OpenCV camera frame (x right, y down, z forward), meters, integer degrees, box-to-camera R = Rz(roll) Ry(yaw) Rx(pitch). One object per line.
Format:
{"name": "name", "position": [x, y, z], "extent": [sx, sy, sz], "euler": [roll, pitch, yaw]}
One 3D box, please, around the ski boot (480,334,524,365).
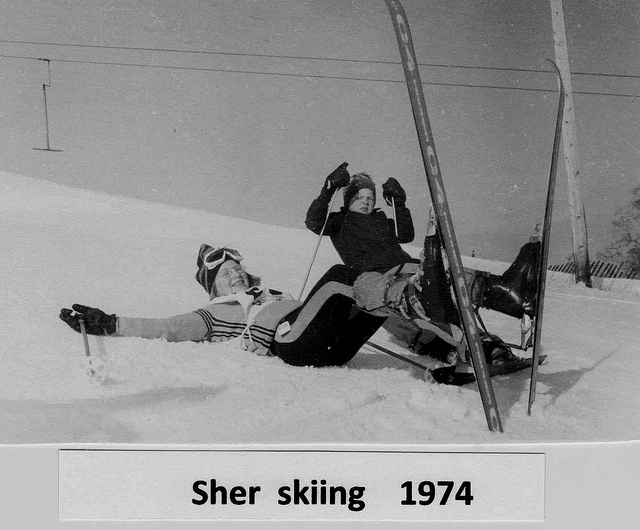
{"name": "ski boot", "position": [0.843, 0.413, 4.226], "extent": [0.146, 0.048, 0.192], "euler": [3, 24, -7]}

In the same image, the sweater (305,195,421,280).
{"name": "sweater", "position": [0.223, -0.145, 4.396], "extent": [0.548, 0.438, 0.172], "euler": [-8, -36, -18]}

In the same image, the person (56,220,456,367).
{"name": "person", "position": [-0.243, 0.206, 4.274], "extent": [1.758, 0.459, 0.915], "euler": [-13, -6, 20]}

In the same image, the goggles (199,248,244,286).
{"name": "goggles", "position": [-0.482, 0.009, 4.303], "extent": [0.203, 0.173, 0.057], "euler": [2, 3, -10]}

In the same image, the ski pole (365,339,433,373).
{"name": "ski pole", "position": [0.387, 0.456, 4.354], "extent": [0.435, 0.028, 0.039], "euler": [18, 39, 10]}
